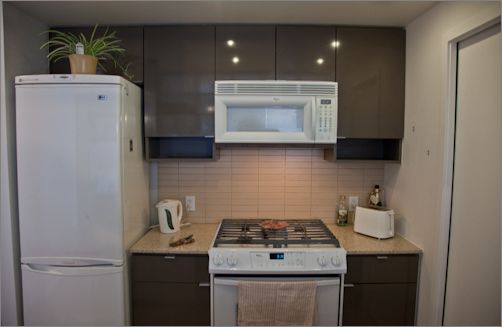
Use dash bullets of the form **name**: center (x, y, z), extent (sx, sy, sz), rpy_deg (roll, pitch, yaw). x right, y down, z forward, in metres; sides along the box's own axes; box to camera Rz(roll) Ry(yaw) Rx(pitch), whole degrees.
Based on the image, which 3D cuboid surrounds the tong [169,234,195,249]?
- **tong**: center (-0.590, 0.658, 3.385), extent (0.139, 0.046, 0.081), rpy_deg (-14, 9, -26)

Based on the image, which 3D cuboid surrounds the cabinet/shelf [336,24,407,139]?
- **cabinet/shelf**: center (1.178, -0.814, 3.705), extent (0.708, 1.135, 0.390), rpy_deg (2, -6, -4)

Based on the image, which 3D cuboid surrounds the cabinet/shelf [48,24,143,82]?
- **cabinet/shelf**: center (-1.401, -0.949, 3.492), extent (0.742, 0.501, 0.665), rpy_deg (-7, 30, -28)

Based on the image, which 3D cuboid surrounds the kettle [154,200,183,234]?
- **kettle**: center (-0.737, 0.482, 3.586), extent (0.228, 0.290, 0.292), rpy_deg (-2, -3, 35)

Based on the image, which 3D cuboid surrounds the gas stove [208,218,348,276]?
- **gas stove**: center (0.219, 0.724, 3.472), extent (1.139, 0.324, 0.574), rpy_deg (0, 7, 0)

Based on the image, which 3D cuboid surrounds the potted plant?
- **potted plant**: center (-1.407, -0.916, 3.303), extent (0.633, 0.338, 0.592), rpy_deg (-2, 5, -27)

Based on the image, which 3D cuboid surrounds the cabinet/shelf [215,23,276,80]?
- **cabinet/shelf**: center (-0.071, -0.998, 3.484), extent (0.479, 0.410, 0.158), rpy_deg (0, 5, 2)

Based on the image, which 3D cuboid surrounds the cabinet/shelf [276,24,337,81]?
- **cabinet/shelf**: center (0.454, -0.998, 3.624), extent (0.563, 0.461, 0.298), rpy_deg (-1, 12, -7)

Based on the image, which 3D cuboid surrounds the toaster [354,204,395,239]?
- **toaster**: center (1.109, 0.519, 3.587), extent (0.179, 0.248, 0.357), rpy_deg (-3, 6, -34)

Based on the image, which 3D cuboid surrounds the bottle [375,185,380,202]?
- **bottle**: center (1.200, 0.276, 3.787), extent (0.061, 0.152, 0.135), rpy_deg (2, 7, 17)

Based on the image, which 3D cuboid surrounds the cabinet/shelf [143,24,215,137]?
- **cabinet/shelf**: center (-0.647, -0.788, 3.836), extent (0.565, 1.094, 0.732), rpy_deg (-2, 15, -3)
